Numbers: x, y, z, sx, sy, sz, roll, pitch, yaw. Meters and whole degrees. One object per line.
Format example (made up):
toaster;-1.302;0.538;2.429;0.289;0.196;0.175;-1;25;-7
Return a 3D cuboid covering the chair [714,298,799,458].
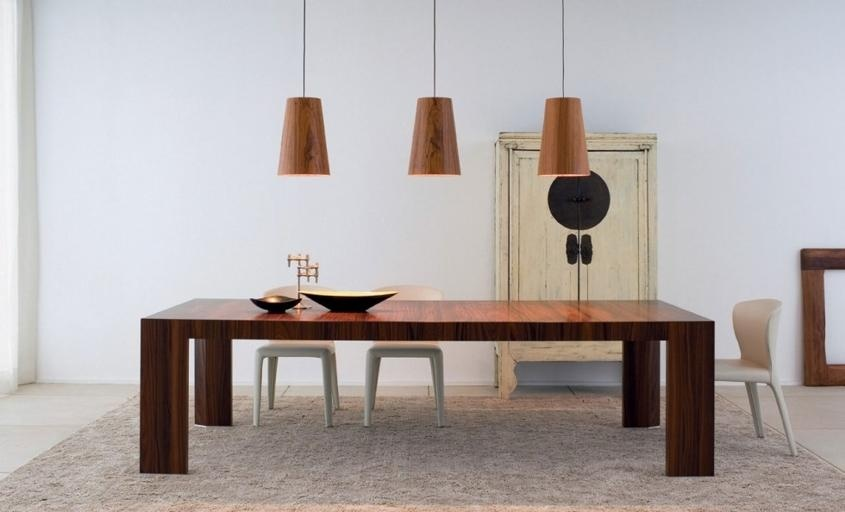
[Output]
chair;2.650;1.034;6.798;0.890;1.261;0.855;1;3;3

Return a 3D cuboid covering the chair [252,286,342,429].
chair;-1.163;0.930;7.183;0.692;1.036;0.777;-12;8;-10

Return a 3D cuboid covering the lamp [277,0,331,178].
lamp;-1.076;-1.643;7.072;0.478;1.846;2.012;-2;5;-8
